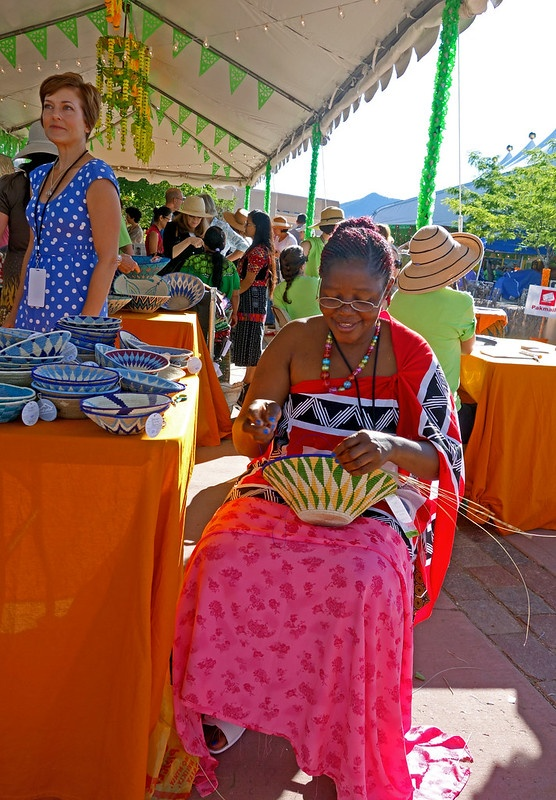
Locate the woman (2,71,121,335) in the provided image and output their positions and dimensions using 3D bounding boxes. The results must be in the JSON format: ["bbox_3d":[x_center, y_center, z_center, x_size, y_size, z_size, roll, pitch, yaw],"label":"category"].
[{"bbox_3d":[-0.682,-0.625,1.940,0.325,0.831,0.227,5,13,-14],"label":"woman"}]

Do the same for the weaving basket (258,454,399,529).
[{"bbox_3d":[0.098,0.188,1.210,0.269,0.191,0.138,8,12,-1],"label":"weaving basket"}]

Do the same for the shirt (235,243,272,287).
[{"bbox_3d":[-0.231,-1.186,5.584,0.315,0.471,0.531,-1,8,-5],"label":"shirt"}]

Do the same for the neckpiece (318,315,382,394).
[{"bbox_3d":[0.174,-0.112,1.484,0.108,0.176,0.033,14,-7,28],"label":"neckpiece"}]
